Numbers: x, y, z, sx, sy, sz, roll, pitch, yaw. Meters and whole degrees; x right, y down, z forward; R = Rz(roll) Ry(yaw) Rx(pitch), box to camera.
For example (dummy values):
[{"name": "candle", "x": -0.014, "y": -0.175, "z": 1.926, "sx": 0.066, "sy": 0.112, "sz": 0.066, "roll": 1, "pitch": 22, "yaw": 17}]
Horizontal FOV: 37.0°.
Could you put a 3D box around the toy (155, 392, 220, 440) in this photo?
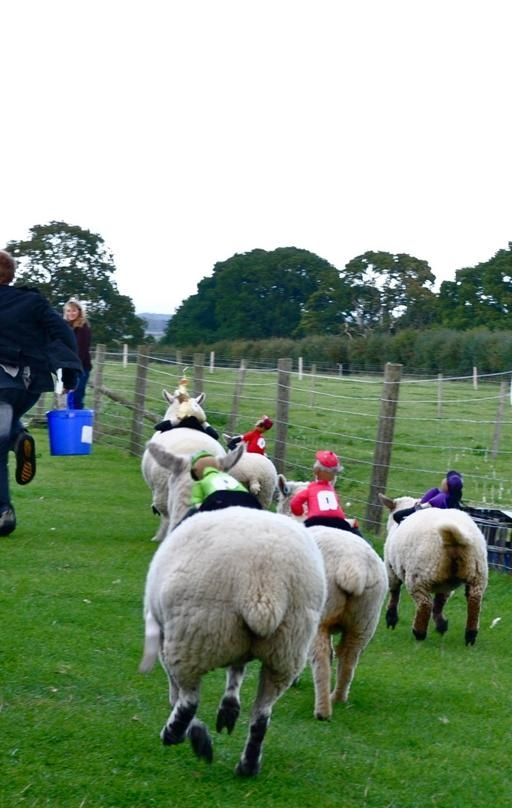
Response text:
[{"name": "toy", "x": -0.555, "y": 0.091, "z": 6.312, "sx": 0.325, "sy": 0.279, "sz": 0.584, "roll": 6, "pitch": 12, "yaw": -11}]

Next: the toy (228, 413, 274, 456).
[{"name": "toy", "x": -0.084, "y": 0.308, "z": 7.603, "sx": 0.497, "sy": 0.530, "sz": 0.400, "roll": 6, "pitch": -6, "yaw": 12}]

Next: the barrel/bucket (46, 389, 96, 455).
[{"name": "barrel/bucket", "x": -2.304, "y": 0.324, "z": 9.441, "sx": 0.677, "sy": 0.810, "sz": 0.656, "roll": 0, "pitch": 4, "yaw": 0}]

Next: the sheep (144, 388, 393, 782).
[{"name": "sheep", "x": -0.084, "y": 0.741, "z": 3.588, "sx": 0.699, "sy": 1.181, "sz": 1.741, "roll": 10, "pitch": 4, "yaw": -18}]
